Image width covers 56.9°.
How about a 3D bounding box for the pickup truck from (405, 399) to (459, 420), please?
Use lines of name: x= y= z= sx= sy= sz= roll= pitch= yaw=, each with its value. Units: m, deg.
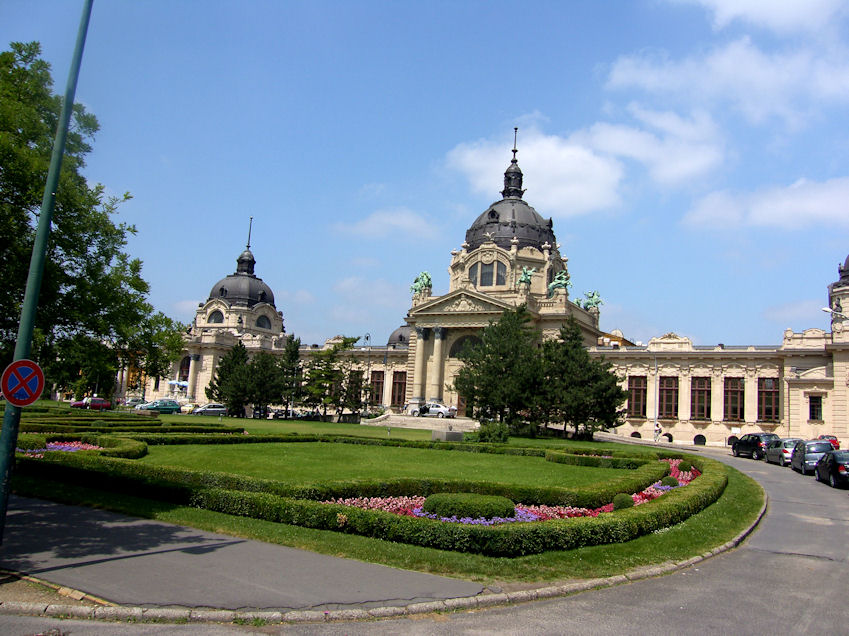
pickup truck: x=0.506 y=8.211 z=70.471 sx=3.200 sy=0.951 sz=2.092 roll=1 pitch=-7 yaw=28
